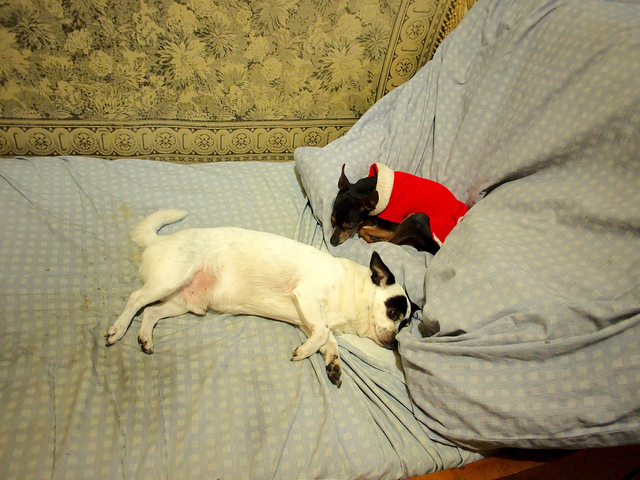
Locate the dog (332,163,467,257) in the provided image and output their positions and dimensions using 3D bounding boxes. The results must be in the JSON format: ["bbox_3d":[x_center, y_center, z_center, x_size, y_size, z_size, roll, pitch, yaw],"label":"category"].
[{"bbox_3d":[0.505,-0.225,3.006,0.933,0.402,0.843,1,44,-1],"label":"dog"}]
